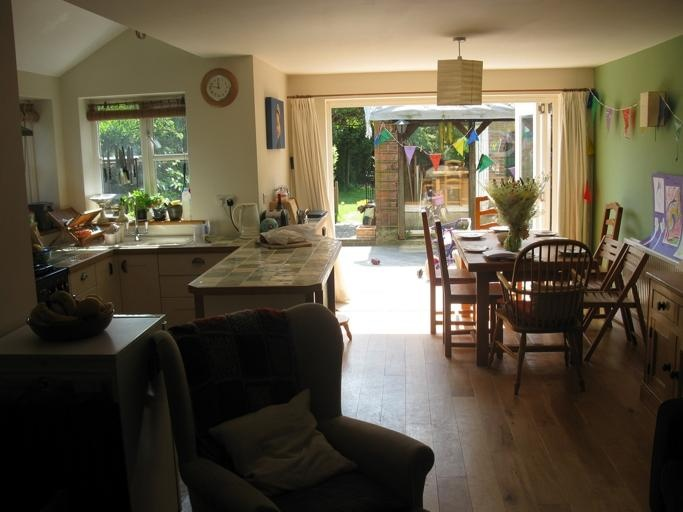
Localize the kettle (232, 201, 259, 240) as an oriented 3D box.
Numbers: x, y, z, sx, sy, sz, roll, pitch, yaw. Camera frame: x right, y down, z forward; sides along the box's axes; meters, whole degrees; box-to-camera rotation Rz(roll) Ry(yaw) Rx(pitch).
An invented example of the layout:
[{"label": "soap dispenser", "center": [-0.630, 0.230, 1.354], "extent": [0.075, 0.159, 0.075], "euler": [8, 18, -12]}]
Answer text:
[{"label": "kettle", "center": [-0.940, -0.343, 4.968], "extent": [0.289, 0.327, 0.291], "euler": [-2, 12, -1]}]

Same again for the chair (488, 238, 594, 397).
[{"label": "chair", "center": [1.613, 0.450, 4.133], "extent": [0.632, 1.233, 0.777], "euler": [1, 8, 15]}]

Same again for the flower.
[{"label": "flower", "center": [1.676, -0.407, 4.829], "extent": [0.639, 0.745, 0.612], "euler": [-2, 3, -35]}]

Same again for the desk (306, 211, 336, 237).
[{"label": "desk", "center": [-0.242, -0.338, 6.070], "extent": [0.307, 0.375, 1.317], "euler": [-2, 12, -1]}]

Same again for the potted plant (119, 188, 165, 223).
[{"label": "potted plant", "center": [-2.081, -0.525, 5.378], "extent": [0.461, 0.319, 0.387], "euler": [-7, 13, -21]}]

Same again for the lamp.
[{"label": "lamp", "center": [1.020, -1.600, 4.403], "extent": [0.398, 0.588, 0.404], "euler": [2, 15, 10]}]

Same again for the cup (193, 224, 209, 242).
[{"label": "cup", "center": [-1.382, -0.215, 4.978], "extent": [0.144, 0.230, 0.223], "euler": [0, 7, 1]}]

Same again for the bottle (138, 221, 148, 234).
[{"label": "bottle", "center": [-2.069, -0.296, 5.283], "extent": [0.110, 0.117, 0.028], "euler": [1, 2, 3]}]

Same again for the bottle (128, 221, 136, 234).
[{"label": "bottle", "center": [-2.185, -0.289, 5.303], "extent": [0.080, 0.120, 0.116], "euler": [-1, 7, -2]}]

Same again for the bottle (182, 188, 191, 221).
[{"label": "bottle", "center": [-1.614, -0.527, 5.284], "extent": [0.099, 0.319, 0.334], "euler": [-6, 13, -19]}]

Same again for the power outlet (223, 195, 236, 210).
[{"label": "power outlet", "center": [-1.109, -0.526, 5.051], "extent": [0.112, 0.120, 0.028], "euler": [2, 18, 1]}]

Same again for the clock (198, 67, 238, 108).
[{"label": "clock", "center": [-1.175, -1.608, 4.922], "extent": [0.371, 0.359, 0.063], "euler": [1, 12, 12]}]

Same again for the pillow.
[{"label": "pillow", "center": [-0.254, 0.809, 2.179], "extent": [0.535, 0.249, 0.321], "euler": [-9, 14, -30]}]

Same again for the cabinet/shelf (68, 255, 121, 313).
[{"label": "cabinet/shelf", "center": [-2.074, 0.328, 4.496], "extent": [0.518, 0.532, 0.221], "euler": [-14, -5, 20]}]
